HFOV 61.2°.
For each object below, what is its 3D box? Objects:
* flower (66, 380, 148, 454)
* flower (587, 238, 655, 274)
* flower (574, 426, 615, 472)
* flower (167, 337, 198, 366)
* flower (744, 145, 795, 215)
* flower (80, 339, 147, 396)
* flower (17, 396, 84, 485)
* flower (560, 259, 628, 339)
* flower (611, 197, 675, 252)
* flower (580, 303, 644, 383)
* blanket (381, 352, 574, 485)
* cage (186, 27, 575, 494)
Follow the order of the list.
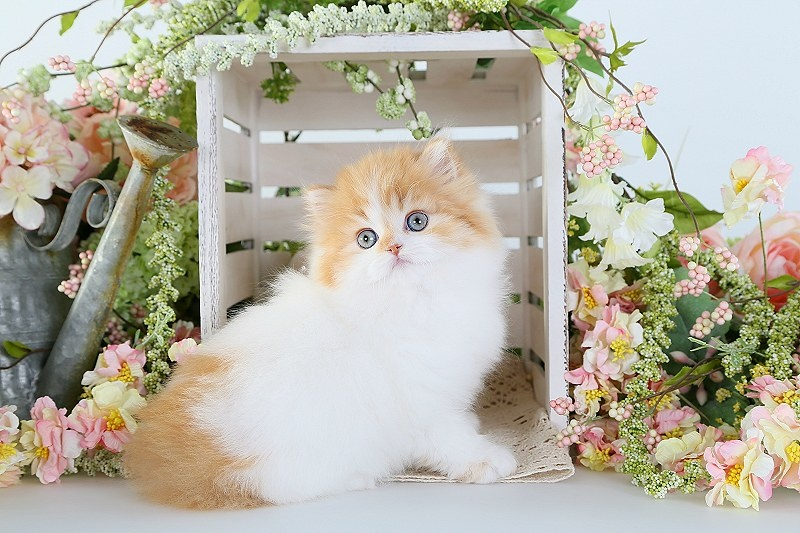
[{"bbox_3d":[-0.620,0.331,1.461,0.143,0.066,0.135,-9,4,-32],"label":"flower"},{"bbox_3d":[0.476,-0.042,1.488,0.080,0.079,0.073,-25,20,-10],"label":"flower"},{"bbox_3d":[0.426,0.398,1.471,0.080,0.099,0.036,1,19,11],"label":"flower"},{"bbox_3d":[-0.477,0.186,1.481,0.055,0.060,0.023,0,-5,9],"label":"flower"},{"bbox_3d":[0.782,-0.183,1.423,0.103,0.131,0.079,-10,20,-23],"label":"flower"},{"bbox_3d":[-0.625,0.232,1.497,0.145,0.057,0.136,22,30,22],"label":"flower"},{"bbox_3d":[-0.744,0.368,1.434,0.107,0.168,0.095,-14,22,-32],"label":"flower"},{"bbox_3d":[0.434,0.062,1.555,0.163,0.072,0.166,-3,33,25],"label":"flower"},{"bbox_3d":[0.515,-0.103,1.459,0.113,0.108,0.051,33,20,-21],"label":"flower"},{"bbox_3d":[0.466,0.147,1.470,0.065,0.133,0.136,28,44,-15],"label":"flower"},{"bbox_3d":[0.212,0.346,1.545,0.292,0.047,0.309,-11,33,15],"label":"blanket"},{"bbox_3d":[-0.018,-0.020,1.884,0.915,0.961,0.602,-2,3,3],"label":"cage"}]
